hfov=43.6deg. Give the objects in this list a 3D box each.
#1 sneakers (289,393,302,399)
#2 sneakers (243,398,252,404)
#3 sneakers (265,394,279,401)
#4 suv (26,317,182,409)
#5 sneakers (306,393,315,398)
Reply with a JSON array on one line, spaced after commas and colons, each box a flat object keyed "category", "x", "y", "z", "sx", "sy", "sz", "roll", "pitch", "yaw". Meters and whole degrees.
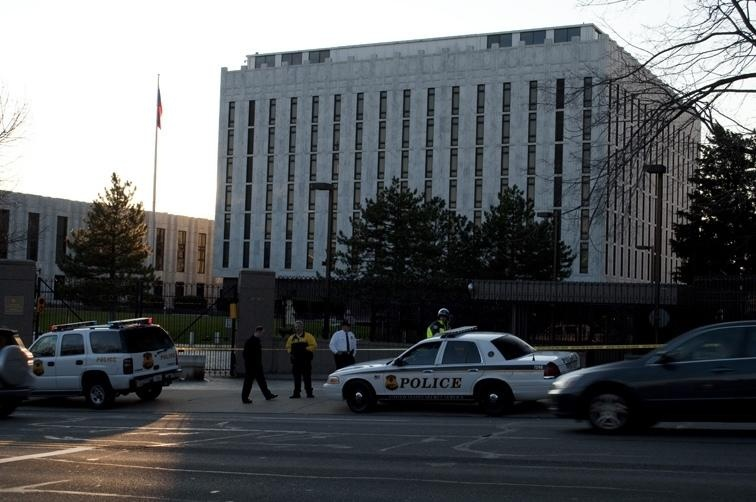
[{"category": "sneakers", "x": -2.461, "y": 4.303, "z": 28.108, "sx": 0.367, "sy": 0.270, "sz": 0.123, "roll": 5, "pitch": 3, "yaw": 41}, {"category": "sneakers", "x": -3.759, "y": 4.344, "z": 27.380, "sx": 0.245, "sy": 0.118, "sz": 0.414, "roll": 2, "pitch": -6, "yaw": -11}, {"category": "sneakers", "x": -3.107, "y": 4.271, "z": 27.766, "sx": 0.377, "sy": 0.132, "sz": 0.168, "roll": -18, "pitch": -30, "yaw": 15}, {"category": "suv", "x": -8.176, "y": 3.139, "z": 27.731, "sx": 3.888, "sy": 1.928, "sz": 2.227, "roll": 2, "pitch": 0, "yaw": 25}, {"category": "sneakers", "x": -1.987, "y": 4.313, "z": 28.132, "sx": 0.149, "sy": 0.101, "sz": 0.154, "roll": 0, "pitch": -3, "yaw": 19}]
